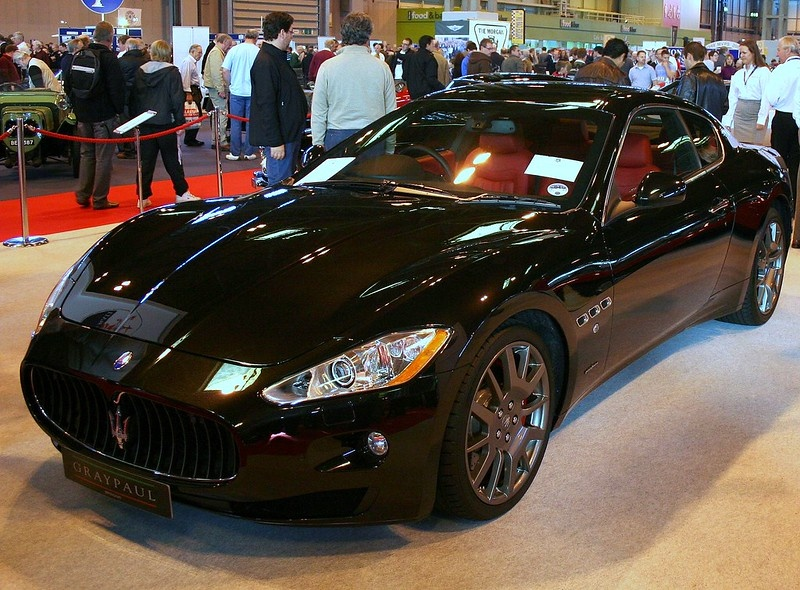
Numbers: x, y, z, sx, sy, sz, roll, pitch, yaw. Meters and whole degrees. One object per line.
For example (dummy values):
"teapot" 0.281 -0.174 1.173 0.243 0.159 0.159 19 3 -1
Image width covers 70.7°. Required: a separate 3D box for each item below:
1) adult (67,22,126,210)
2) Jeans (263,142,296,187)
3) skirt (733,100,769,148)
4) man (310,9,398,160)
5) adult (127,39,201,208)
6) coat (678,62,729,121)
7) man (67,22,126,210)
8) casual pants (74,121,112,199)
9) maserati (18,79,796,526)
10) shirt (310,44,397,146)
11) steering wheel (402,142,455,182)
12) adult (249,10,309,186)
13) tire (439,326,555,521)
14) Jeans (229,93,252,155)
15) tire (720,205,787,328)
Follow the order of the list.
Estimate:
"adult" -4.575 -2.710 8.414 0.819 2.743 0.778 4 5 14
"Jeans" -1.326 -1.452 6.179 0.307 0.326 1.166 4 -14 -11
"skirt" 6.156 -3.033 9.816 0.447 0.788 0.554 -23 30 -25
"man" -0.538 -2.085 6.522 0.940 2.249 0.557 2 40 -7
"adult" -3.563 -2.609 8.602 1.085 2.422 0.692 2 9 -7
"coat" 4.289 -2.798 7.999 0.971 0.862 0.456 -11 15 -16
"man" -4.580 -2.707 8.445 0.827 2.766 0.785 3 4 13
"casual pants" -4.488 -2.048 8.302 0.504 1.308 0.335 4 12 -4
"maserati" 0.643 -0.160 3.225 1.999 1.310 4.318 13 22 37
"shirt" -0.521 -2.264 6.376 1.023 1.074 0.583 -10 31 -19
"steering wheel" 0.179 -0.830 3.628 0.286 0.057 0.292 10 40 -9
"adult" -1.452 -2.076 6.886 0.671 2.526 0.860 4 22 7
"tire" 0.356 0.502 2.161 0.187 0.566 0.596 14 52 30
"Jeans" -3.383 -3.724 12.111 0.571 1.647 0.420 2 -5 -12
"tire" 2.581 -0.213 4.132 0.243 0.715 0.710 11 36 37
